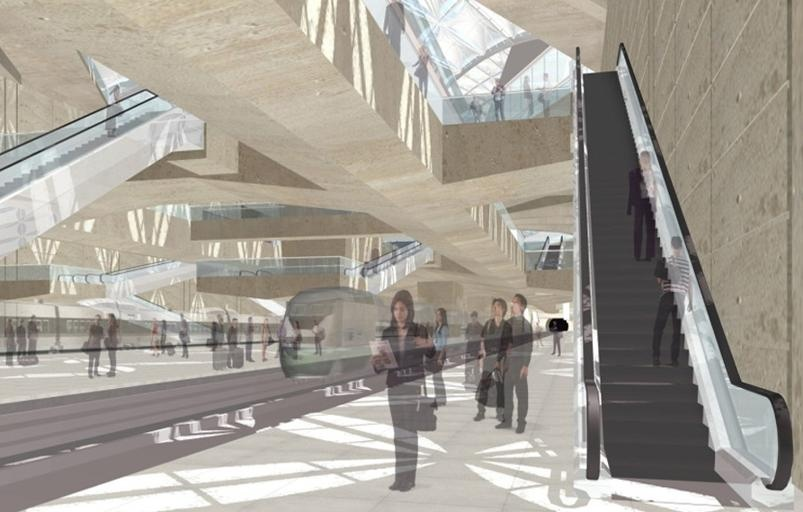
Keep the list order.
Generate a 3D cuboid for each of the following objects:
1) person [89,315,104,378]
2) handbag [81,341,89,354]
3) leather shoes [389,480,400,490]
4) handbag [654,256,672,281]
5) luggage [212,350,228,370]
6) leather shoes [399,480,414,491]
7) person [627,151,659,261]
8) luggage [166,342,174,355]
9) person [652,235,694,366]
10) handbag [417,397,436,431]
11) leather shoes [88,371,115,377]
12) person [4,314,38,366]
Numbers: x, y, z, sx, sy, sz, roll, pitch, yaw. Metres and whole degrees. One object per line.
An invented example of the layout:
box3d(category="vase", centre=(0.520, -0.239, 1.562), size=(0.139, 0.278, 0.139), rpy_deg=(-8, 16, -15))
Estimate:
box3d(category="person", centre=(-7.176, 2.127, 14.956), size=(0.341, 1.382, 0.914), rpy_deg=(0, -7, -23))
box3d(category="handbag", centre=(-7.290, 2.107, 14.744), size=(0.147, 0.271, 0.342), rpy_deg=(0, -7, -26))
box3d(category="leather shoes", centre=(-0.092, 2.869, 8.001), size=(0.082, 0.110, 0.166), rpy_deg=(2, -8, -35))
box3d(category="handbag", centre=(4.340, 0.209, 10.378), size=(0.258, 0.351, 0.375), rpy_deg=(3, 9, 15))
box3d(category="luggage", centre=(-5.168, 2.956, 18.070), size=(0.159, 0.581, 0.625), rpy_deg=(-5, -7, 18))
box3d(category="leather shoes", centre=(0.084, 2.866, 7.966), size=(0.167, 0.108, 0.066), rpy_deg=(1, -8, -30))
box3d(category="person", centre=(4.402, -0.959, 11.693), size=(0.490, 2.204, 1.208), rpy_deg=(-5, -7, 20))
box3d(category="luggage", centre=(-6.270, 2.510, 17.259), size=(0.251, 0.221, 0.399), rpy_deg=(1, -5, -10))
box3d(category="person", centre=(4.095, 0.627, 9.731), size=(0.588, 1.971, 1.545), rpy_deg=(-6, -7, 23))
box3d(category="handbag", centre=(0.337, 2.027, 8.170), size=(0.168, 0.429, 0.369), rpy_deg=(-7, -8, 31))
box3d(category="leather shoes", centre=(-6.909, 2.744, 14.715), size=(0.143, 0.150, 0.671), rpy_deg=(-8, -8, 36))
box3d(category="person", centre=(-7.947, 1.761, 13.374), size=(0.593, 0.998, 1.194), rpy_deg=(1, -8, -30))
